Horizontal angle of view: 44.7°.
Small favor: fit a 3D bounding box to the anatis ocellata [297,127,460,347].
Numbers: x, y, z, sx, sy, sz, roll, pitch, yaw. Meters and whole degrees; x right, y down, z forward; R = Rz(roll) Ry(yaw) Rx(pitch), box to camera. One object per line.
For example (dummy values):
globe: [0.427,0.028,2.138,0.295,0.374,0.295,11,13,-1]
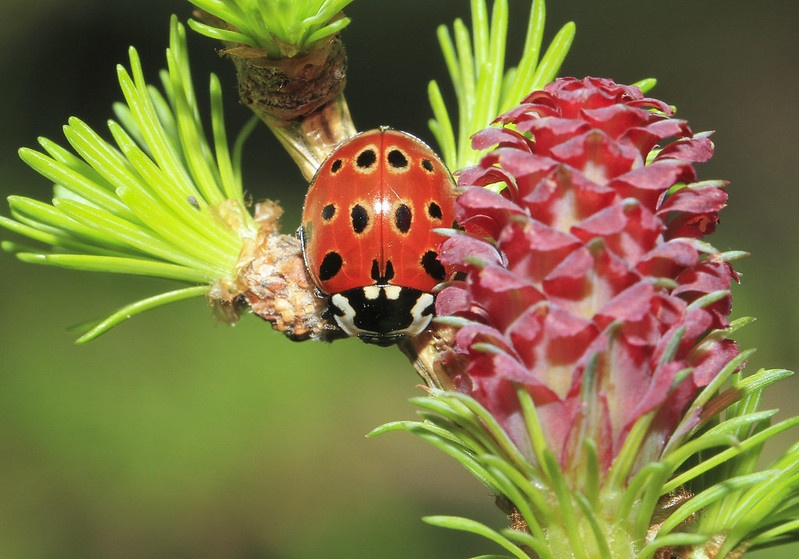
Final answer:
anatis ocellata: [0.004,-0.070,1.226,0.280,0.322,0.135,-2,-20,13]
